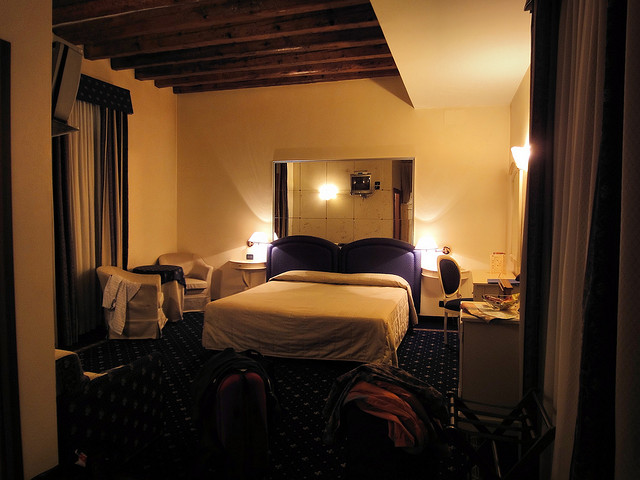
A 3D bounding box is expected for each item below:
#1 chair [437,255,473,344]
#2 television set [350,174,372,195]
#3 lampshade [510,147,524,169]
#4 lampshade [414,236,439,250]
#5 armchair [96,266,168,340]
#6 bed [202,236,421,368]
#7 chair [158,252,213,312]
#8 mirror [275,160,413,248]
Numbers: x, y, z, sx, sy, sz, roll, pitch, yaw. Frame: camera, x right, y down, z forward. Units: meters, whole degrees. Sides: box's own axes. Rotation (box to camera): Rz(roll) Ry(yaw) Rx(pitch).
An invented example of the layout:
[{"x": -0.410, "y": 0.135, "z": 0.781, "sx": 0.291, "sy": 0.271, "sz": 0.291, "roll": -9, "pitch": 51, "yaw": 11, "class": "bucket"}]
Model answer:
[{"x": 1.339, "y": 0.550, "z": 5.258, "sx": 0.306, "sy": 0.921, "sz": 0.354, "roll": 5, "pitch": 2, "yaw": 12, "class": "chair"}, {"x": 0.527, "y": -0.663, "z": 6.590, "sx": 0.326, "sy": 0.326, "sz": 0.195, "roll": 1, "pitch": 4, "yaw": 15, "class": "television set"}, {"x": 1.837, "y": -0.762, "z": 4.813, "sx": 0.101, "sy": 0.198, "sz": 0.379, "roll": 2, "pitch": 4, "yaw": 21, "class": "lampshade"}, {"x": 1.244, "y": 0.044, "z": 6.117, "sx": 0.159, "sy": 0.116, "sz": 0.171, "roll": -2, "pitch": 2, "yaw": 22, "class": "lampshade"}, {"x": -2.006, "y": 0.644, "z": 5.551, "sx": 0.632, "sy": 0.781, "sz": 0.567, "roll": -1, "pitch": 4, "yaw": -19, "class": "armchair"}, {"x": 0.120, "y": 0.616, "z": 5.254, "sx": 1.447, "sy": 0.963, "sz": 1.590, "roll": 1, "pitch": 0, "yaw": 19, "class": "bed"}, {"x": -1.795, "y": 0.558, "z": 6.755, "sx": 0.657, "sy": 0.816, "sz": 0.695, "roll": -1, "pitch": -3, "yaw": 24, "class": "chair"}, {"x": 0.263, "y": -0.530, "z": 6.560, "sx": 1.792, "sy": 1.461, "sz": 0.036, "roll": 0, "pitch": 38, "yaw": 3, "class": "mirror"}]
